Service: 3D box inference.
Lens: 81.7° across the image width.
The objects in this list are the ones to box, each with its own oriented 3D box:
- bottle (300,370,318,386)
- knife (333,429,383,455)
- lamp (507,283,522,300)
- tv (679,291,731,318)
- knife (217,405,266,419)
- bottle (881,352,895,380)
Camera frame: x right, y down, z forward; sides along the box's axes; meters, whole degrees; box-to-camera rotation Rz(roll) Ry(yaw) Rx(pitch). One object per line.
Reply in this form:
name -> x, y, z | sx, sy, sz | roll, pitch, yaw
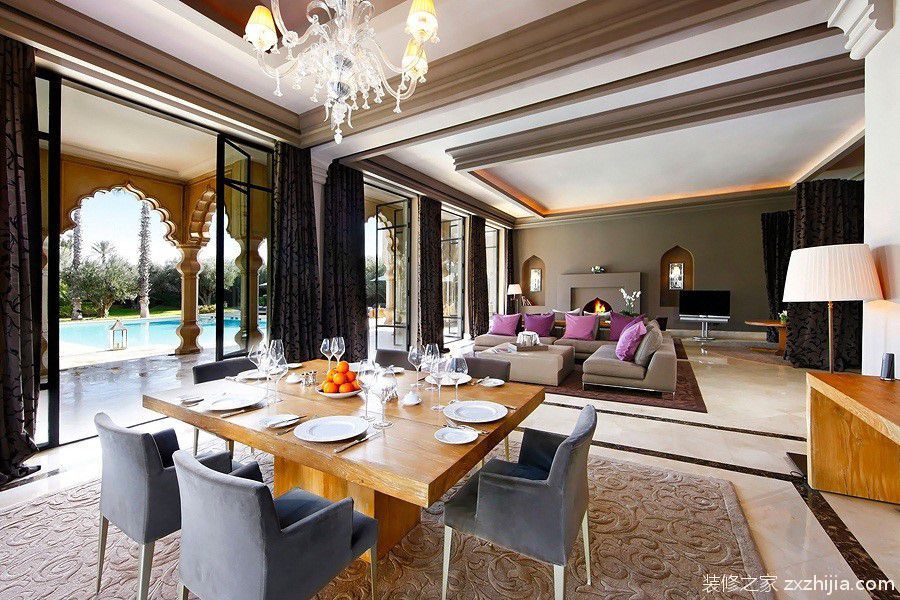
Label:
bottle -> -1.194, 0.658, 4.424 | 0.116, 0.117, 0.120 | 4, 6, 29
knife -> -0.625, 0.965, 3.572 | 0.106, 0.035, 0.426 | 15, 21, 34
lamp -> 1.530, -0.221, 12.520 | 0.365, 0.368, 0.345 | -2, 4, 34
tv -> 5.295, 0.075, 10.903 | 0.916, 0.495, 0.147 | -3, 0, 26
knife -> -1.573, 0.821, 3.903 | 0.089, 0.030, 0.343 | 13, 14, 37
bottle -> 3.521, 0.531, 4.184 | 0.110, 0.161, 0.045 | -3, 0, 7
